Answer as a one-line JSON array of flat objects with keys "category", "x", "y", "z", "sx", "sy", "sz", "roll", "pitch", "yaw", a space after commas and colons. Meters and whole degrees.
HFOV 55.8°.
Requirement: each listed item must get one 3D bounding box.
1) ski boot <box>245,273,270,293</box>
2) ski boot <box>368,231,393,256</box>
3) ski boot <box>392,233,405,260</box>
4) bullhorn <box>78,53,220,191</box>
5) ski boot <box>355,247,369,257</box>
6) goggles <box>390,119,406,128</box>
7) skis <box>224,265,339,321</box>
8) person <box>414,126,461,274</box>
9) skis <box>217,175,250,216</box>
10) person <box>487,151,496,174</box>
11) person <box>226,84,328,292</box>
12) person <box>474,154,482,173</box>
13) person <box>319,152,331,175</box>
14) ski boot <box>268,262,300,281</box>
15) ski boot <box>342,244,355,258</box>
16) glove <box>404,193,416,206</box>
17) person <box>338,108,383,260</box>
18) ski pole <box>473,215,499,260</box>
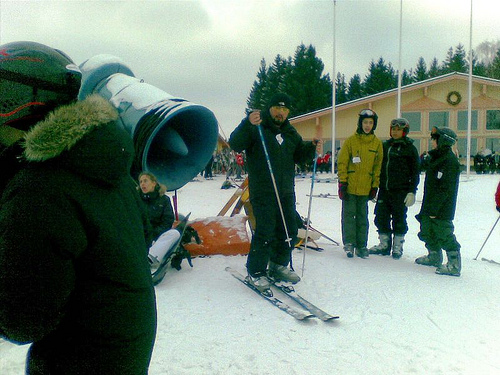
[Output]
[{"category": "ski boot", "x": 0.072, "y": 0.897, "z": 4.483, "sx": 0.093, "sy": 0.106, "sz": 0.263, "roll": -11, "pitch": 16, "yaw": -43}, {"category": "ski boot", "x": 1.711, "y": 0.704, "z": 6.160, "sx": 0.281, "sy": 0.150, "sz": 0.280, "roll": -9, "pitch": -37, "yaw": 10}, {"category": "ski boot", "x": 1.856, "y": 0.742, "z": 5.953, "sx": 0.123, "sy": 0.324, "sz": 0.321, "roll": 4, "pitch": -35, "yaw": 5}, {"category": "bullhorn", "x": -0.665, "y": -0.479, "z": 2.800, "sx": 0.503, "sy": 0.481, "sz": 1.282, "roll": 45, "pitch": -8, "yaw": -34}, {"category": "ski boot", "x": 1.394, "y": 0.806, "z": 5.906, "sx": 0.127, "sy": 0.091, "sz": 0.101, "roll": 1, "pitch": 0, "yaw": 13}, {"category": "goggles", "x": 1.902, "y": -0.823, "z": 6.066, "sx": 0.179, "sy": 0.114, "sz": 0.174, "roll": 2, "pitch": 6, "yaw": 17}, {"category": "skis", "x": 0.241, "y": 0.969, "z": 4.320, "sx": 0.293, "sy": 0.060, "sz": 1.106, "roll": -1, "pitch": 9, "yaw": -34}, {"category": "person", "x": 2.159, "y": 0.121, "z": 5.356, "sx": 0.428, "sy": 1.609, "sz": 0.692, "roll": 0, "pitch": 6, "yaw": 5}, {"category": "skis", "x": -0.145, "y": 0.108, "z": 7.321, "sx": 0.088, "sy": 0.241, "sz": 1.118, "roll": 25, "pitch": -28, "yaw": 1}, {"category": "person", "x": 13.417, "y": -1.451, "z": 26.357, "sx": 0.506, "sy": 1.242, "sz": 0.401, "roll": 7, "pitch": -5, "yaw": 0}, {"category": "person", "x": 0.251, "y": 0.026, "z": 4.623, "sx": 0.827, "sy": 1.911, "sz": 0.548, "roll": -4, "pitch": 7, "yaw": -33}, {"category": "person", "x": 12.643, "y": -1.337, "z": 26.202, "sx": 0.384, "sy": 1.018, "sz": 0.325, "roll": 3, "pitch": 7, "yaw": 30}, {"category": "person", "x": 4.400, "y": -1.380, "z": 27.627, "sx": 0.763, "sy": 1.382, "sz": 0.396, "roll": 19, "pitch": 20, "yaw": 20}, {"category": "ski boot", "x": 0.337, "y": 0.829, "z": 4.777, "sx": 0.352, "sy": 0.156, "sz": 0.122, "roll": 12, "pitch": 16, "yaw": 18}, {"category": "ski boot", "x": 1.225, "y": 0.773, "z": 5.829, "sx": 0.149, "sy": 0.150, "sz": 0.116, "roll": -13, "pitch": -17, "yaw": 20}, {"category": "glove", "x": 2.015, "y": 0.152, "z": 5.934, "sx": 0.136, "sy": 0.149, "sz": 0.115, "roll": -16, "pitch": 27, "yaw": 1}, {"category": "person", "x": 1.408, "y": -0.054, "z": 5.969, "sx": 0.596, "sy": 1.857, "sz": 0.592, "roll": -1, "pitch": 6, "yaw": -10}, {"category": "ski pole", "x": 3.396, "y": 0.731, "z": 6.808, "sx": 0.060, "sy": 0.548, "sz": 0.063, "roll": 35, "pitch": 4, "yaw": 38}]
